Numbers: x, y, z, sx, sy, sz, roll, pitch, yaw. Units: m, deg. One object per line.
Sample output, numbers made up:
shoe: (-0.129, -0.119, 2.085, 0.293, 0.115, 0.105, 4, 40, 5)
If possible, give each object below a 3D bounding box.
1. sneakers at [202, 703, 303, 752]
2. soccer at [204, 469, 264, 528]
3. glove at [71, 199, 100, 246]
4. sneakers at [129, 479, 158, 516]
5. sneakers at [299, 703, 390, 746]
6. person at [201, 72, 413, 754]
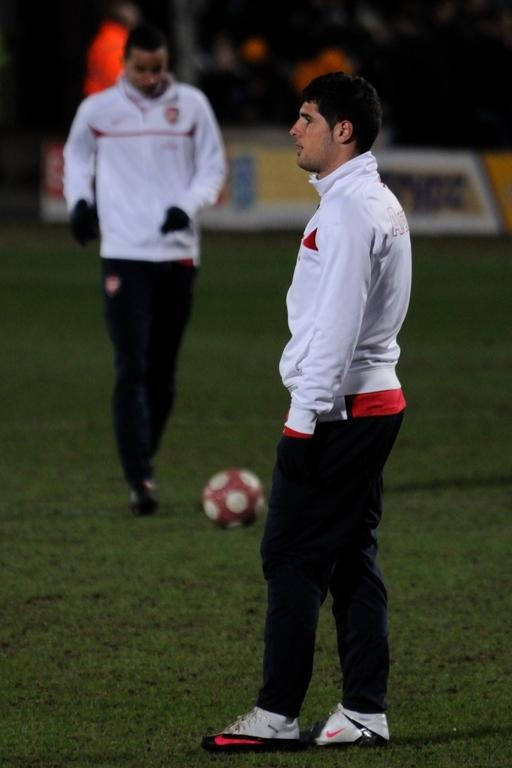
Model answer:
sneakers: (0.002, 0.909, 2.626, 0.312, 0.111, 0.098, 2, -9, -1)
soccer: (-0.078, 0.383, 3.368, 0.204, 0.185, 0.210, 0, -4, 34)
glove: (-0.805, -0.734, 4.563, 0.071, 0.173, 0.148, 7, 16, 20)
sneakers: (-0.512, 0.527, 4.602, 0.126, 0.151, 0.117, 3, 24, -10)
sneakers: (0.253, 0.927, 2.704, 0.277, 0.099, 0.090, 1, -16, 1)
person: (0.236, 0.129, 2.627, 0.508, 1.762, 0.797, 8, 24, -1)
